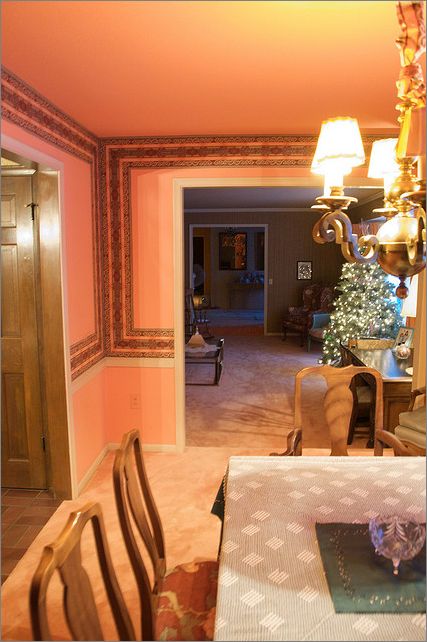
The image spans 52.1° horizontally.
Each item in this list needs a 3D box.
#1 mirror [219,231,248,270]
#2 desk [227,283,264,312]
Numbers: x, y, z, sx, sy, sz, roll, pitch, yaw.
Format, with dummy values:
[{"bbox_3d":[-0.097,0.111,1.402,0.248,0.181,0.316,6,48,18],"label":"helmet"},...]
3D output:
[{"bbox_3d":[0.592,-2.232,13.700,1.207,1.672,0.072,0,0,-4],"label":"mirror"},{"bbox_3d":[1.027,-0.809,13.611,1.324,0.932,0.777,1,13,5],"label":"desk"}]
